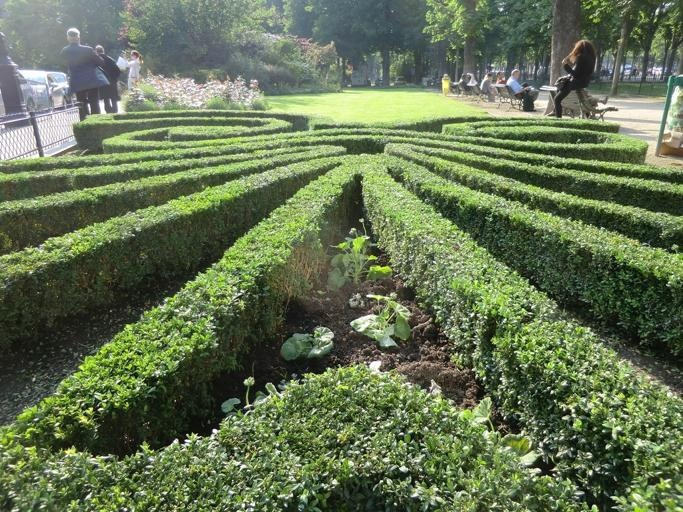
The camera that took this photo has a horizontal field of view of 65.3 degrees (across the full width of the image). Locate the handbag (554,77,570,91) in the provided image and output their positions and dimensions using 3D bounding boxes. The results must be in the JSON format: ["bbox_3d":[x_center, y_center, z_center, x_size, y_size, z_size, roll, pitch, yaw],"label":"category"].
[{"bbox_3d":[6.606,-5.207,16.042,0.369,0.138,0.288,-18,5,-9],"label":"handbag"}]
